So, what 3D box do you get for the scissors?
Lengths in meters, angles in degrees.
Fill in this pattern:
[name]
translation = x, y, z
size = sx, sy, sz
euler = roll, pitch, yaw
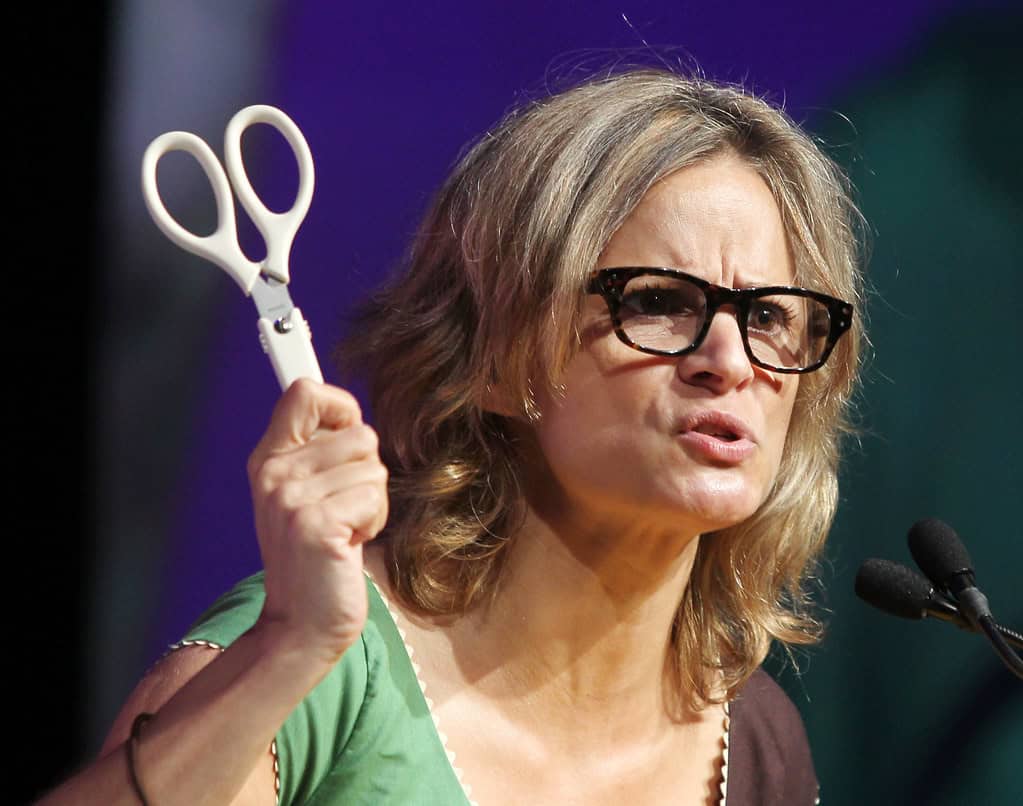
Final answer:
[scissors]
translation = -0.434, -0.314, 2.356
size = 0.211, 0.590, 0.058
euler = -18, -10, -1
